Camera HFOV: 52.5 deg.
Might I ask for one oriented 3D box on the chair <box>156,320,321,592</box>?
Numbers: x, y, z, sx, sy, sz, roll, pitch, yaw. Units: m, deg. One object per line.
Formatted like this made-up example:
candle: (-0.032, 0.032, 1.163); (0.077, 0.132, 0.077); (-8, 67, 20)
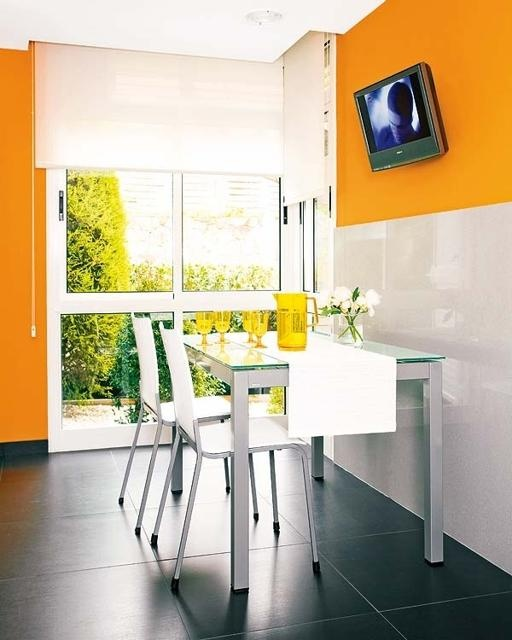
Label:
chair: (-0.015, 0.512, 2.011); (0.404, 0.642, 0.430); (13, -12, -33)

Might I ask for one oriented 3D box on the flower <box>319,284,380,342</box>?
flower: (0.413, -0.012, 2.292); (0.195, 0.242, 0.215); (4, -14, 33)

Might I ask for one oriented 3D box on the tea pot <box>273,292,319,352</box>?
tea pot: (0.171, 0.008, 2.210); (0.218, 0.340, 0.151); (1, -1, -27)

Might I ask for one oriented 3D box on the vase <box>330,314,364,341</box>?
vase: (0.488, 0.040, 2.829); (0.131, 0.167, 0.134); (0, 0, 2)

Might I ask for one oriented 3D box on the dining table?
dining table: (0.265, 0.468, 2.160); (0.985, 0.769, 0.935); (-4, 5, -14)

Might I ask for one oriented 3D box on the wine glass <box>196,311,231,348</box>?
wine glass: (-0.215, 0.042, 2.515); (0.140, 0.179, 0.146); (0, 0, -7)

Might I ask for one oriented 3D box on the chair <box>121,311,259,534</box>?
chair: (-0.384, 0.409, 2.772); (0.707, 1.525, 0.723); (-2, 3, -16)
